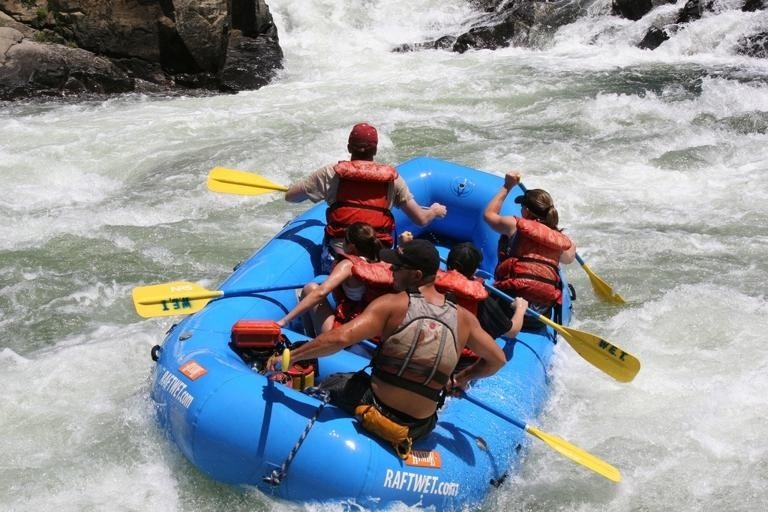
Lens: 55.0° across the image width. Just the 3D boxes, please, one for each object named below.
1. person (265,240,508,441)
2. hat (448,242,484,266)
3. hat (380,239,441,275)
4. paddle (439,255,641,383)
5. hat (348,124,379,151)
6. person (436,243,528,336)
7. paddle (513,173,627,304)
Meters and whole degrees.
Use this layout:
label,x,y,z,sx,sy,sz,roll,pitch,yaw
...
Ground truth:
label,x,y,z,sx,sy,sz,roll,pitch,yaw
person,0.181,0.815,6.294,1.293,1.633,0.983,-27,51,-30
hat,0.767,-0.028,6.747,0.211,0.161,0.281,16,35,20
hat,0.240,-0.017,6.178,0.408,0.203,0.250,6,34,5
paddle,1.538,0.671,7.410,2.670,0.271,0.179,29,17,20
hat,-0.206,-1.211,7.503,0.270,0.243,0.265,-1,41,-7
person,0.952,0.339,6.936,0.587,0.870,0.549,29,68,18
paddle,2.266,-0.160,8.857,0.356,2.575,0.176,-47,12,-5
